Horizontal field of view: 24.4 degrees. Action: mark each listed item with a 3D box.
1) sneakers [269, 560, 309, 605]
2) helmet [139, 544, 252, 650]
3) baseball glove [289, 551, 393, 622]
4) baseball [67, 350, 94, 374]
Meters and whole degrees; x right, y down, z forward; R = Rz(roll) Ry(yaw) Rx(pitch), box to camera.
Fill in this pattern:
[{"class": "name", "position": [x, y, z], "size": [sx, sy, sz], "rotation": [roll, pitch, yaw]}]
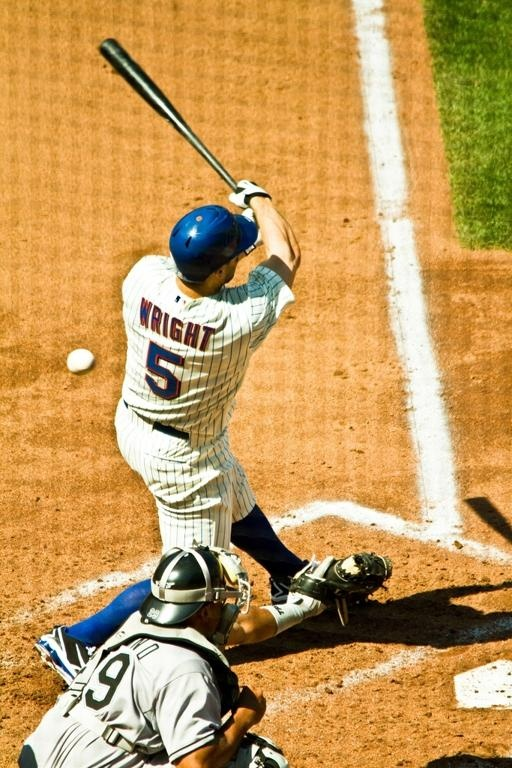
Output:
[{"class": "sneakers", "position": [0.117, 0.986, 5.870], "size": [0.177, 0.230, 0.160], "rotation": [-1, 78, -58]}, {"class": "helmet", "position": [-0.252, 0.824, 4.699], "size": [0.369, 0.304, 0.495], "rotation": [9, 8, 33]}, {"class": "baseball glove", "position": [0.415, 0.953, 5.760], "size": [0.503, 0.227, 0.374], "rotation": [-16, 16, -4]}, {"class": "baseball", "position": [-1.111, -0.138, 7.440], "size": [0.173, 0.090, 0.146], "rotation": [-2, 90, -15]}]
